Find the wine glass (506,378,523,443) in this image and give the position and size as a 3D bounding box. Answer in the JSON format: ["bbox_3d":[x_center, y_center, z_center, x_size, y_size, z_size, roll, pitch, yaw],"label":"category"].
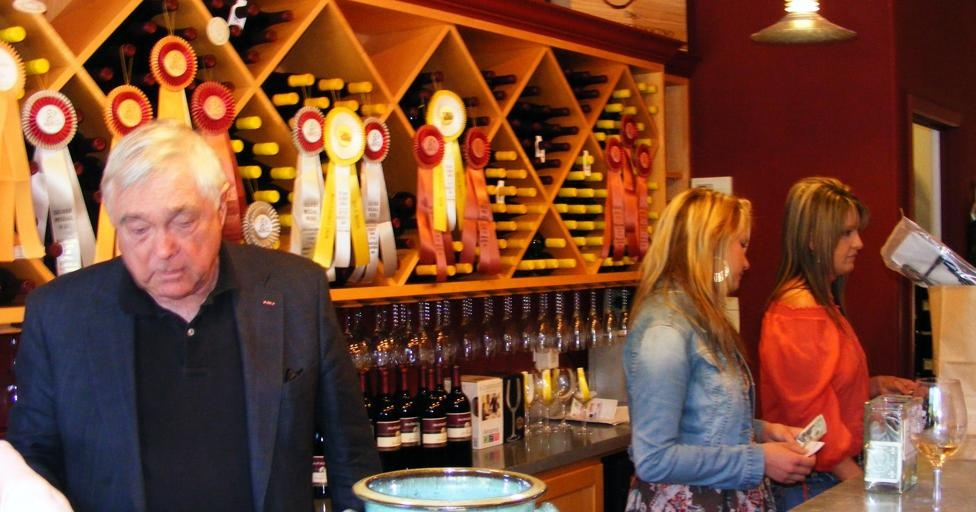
[{"bbox_3d":[0.143,0.867,4.508,0.061,0.358,0.156,-11,-13,39],"label":"wine glass"}]
